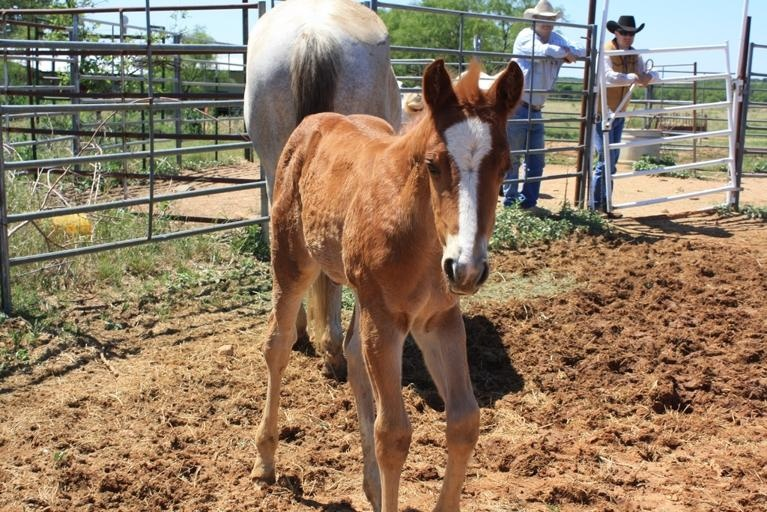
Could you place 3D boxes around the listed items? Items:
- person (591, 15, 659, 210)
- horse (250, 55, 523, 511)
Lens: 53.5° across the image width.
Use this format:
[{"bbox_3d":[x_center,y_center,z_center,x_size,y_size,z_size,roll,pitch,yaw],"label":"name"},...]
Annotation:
[{"bbox_3d":[3.791,-2.260,12.227,0.791,3.059,1.443,3,14,18],"label":"person"},{"bbox_3d":[-0.023,0.319,6.178,2.034,3.691,0.971,7,16,32],"label":"horse"}]
